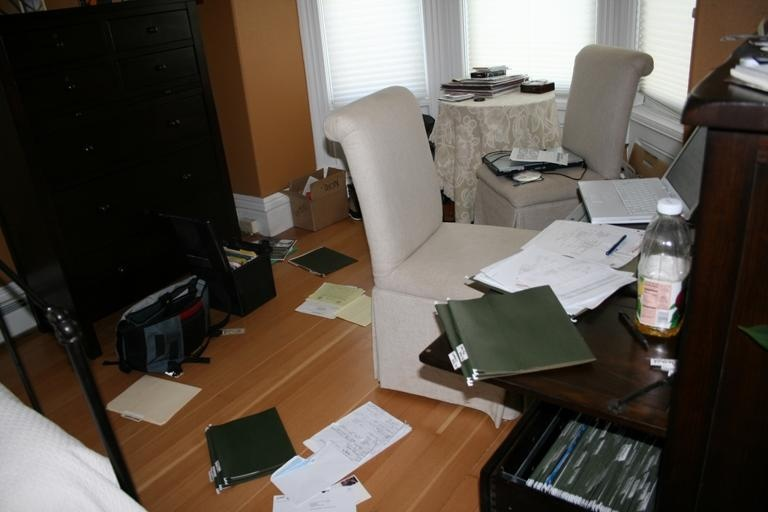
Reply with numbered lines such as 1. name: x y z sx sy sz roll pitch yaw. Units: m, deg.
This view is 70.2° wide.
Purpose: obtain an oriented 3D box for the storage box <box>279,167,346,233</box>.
1. storage box: -0.487 -0.435 4.091 0.366 0.442 0.485 15 25 24

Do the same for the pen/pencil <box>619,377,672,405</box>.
1. pen/pencil: 0.613 0.321 1.280 0.097 0.010 0.017 -22 46 -15

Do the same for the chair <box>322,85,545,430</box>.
1. chair: 0.289 -0.074 2.380 0.839 1.203 0.759 9 30 31

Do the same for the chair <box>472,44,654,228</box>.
1. chair: 0.969 -0.590 3.022 0.870 1.046 0.710 -5 27 2

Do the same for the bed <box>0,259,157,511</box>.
1. bed: -1.169 0.481 2.119 0.081 0.789 0.647 -26 69 -23
